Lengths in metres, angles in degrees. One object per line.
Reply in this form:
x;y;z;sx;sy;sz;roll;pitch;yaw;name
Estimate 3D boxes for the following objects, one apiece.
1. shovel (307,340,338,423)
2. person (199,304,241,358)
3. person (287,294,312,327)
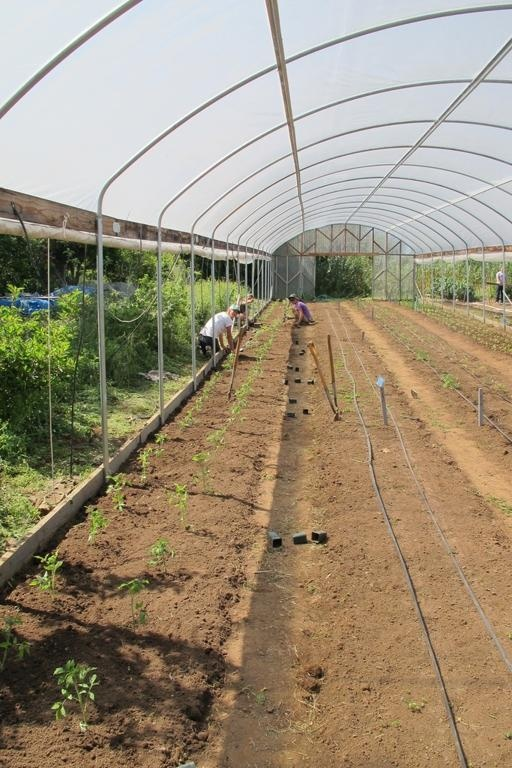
1.154;-0.007;10.035;0.248;1.553;0.399;-11;17;35;shovel
-0.806;-1.131;12.390;0.820;1.075;0.719;4;14;-28;person
1.555;-2.500;19.564;0.655;1.057;2.088;2;12;6;person
